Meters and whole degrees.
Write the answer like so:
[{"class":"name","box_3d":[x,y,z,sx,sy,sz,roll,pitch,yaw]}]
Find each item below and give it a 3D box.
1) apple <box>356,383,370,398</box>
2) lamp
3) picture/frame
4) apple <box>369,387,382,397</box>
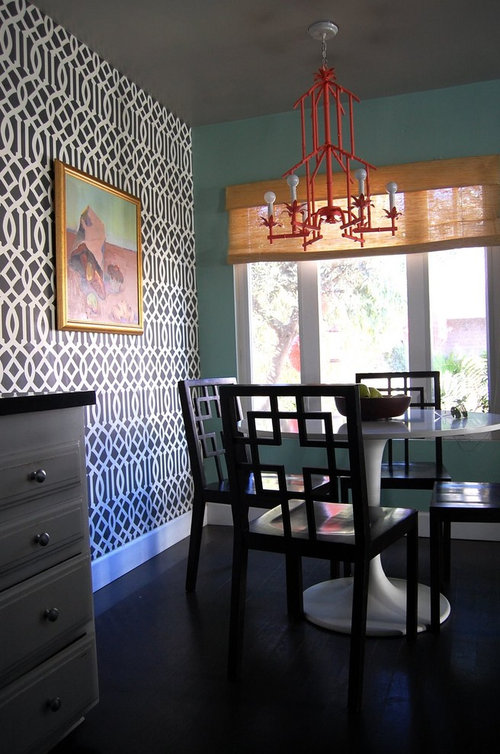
[{"class":"apple","box_3d":[0.365,0.044,1.715,0.030,0.055,0.040,3,-8,-27]},{"class":"lamp","box_3d":[0.340,-1.123,2.335,0.437,0.986,0.534,-4,4,9]},{"class":"picture/frame","box_3d":[-0.686,-0.574,2.361,0.042,0.919,0.745,-1,1,17]},{"class":"apple","box_3d":[0.439,0.051,1.873,0.029,0.031,0.032,0,1,16]}]
